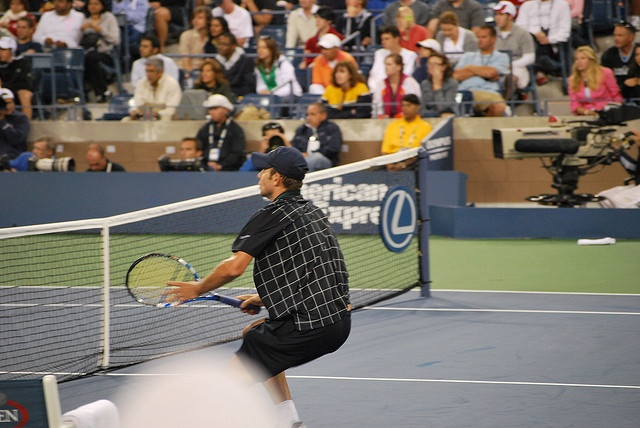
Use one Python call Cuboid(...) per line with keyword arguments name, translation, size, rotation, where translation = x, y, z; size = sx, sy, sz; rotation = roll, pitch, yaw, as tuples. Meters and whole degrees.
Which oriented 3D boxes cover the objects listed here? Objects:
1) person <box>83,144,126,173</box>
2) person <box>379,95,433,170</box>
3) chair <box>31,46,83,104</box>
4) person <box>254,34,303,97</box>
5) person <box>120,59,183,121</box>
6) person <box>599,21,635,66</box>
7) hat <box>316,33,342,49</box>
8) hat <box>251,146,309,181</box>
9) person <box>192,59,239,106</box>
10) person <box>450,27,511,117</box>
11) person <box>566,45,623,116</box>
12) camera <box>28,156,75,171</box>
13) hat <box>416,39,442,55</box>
Cuboid(name="person", translation=(-4.471, -1.136, 25.356), size=(0.888, 0.586, 0.573), rotation=(-5, 33, 13))
Cuboid(name="person", translation=(1.669, -1.777, 24.506), size=(0.966, 1.187, 0.544), rotation=(2, 7, 28))
Cuboid(name="chair", translation=(-5.837, -3.062, 27.412), size=(1.159, 1.241, 0.759), rotation=(-4, 7, -23))
Cuboid(name="person", translation=(-0.914, -3.083, 25.953), size=(0.954, 1.245, 0.438), rotation=(-2, 7, -2))
Cuboid(name="person", translation=(-3.560, -2.654, 26.113), size=(1.177, 1.315, 0.540), rotation=(0, 7, 13))
Cuboid(name="person", translation=(6.405, -3.665, 25.849), size=(0.758, 0.978, 0.615), rotation=(2, 1, -23))
Cuboid(name="hat", translation=(0.164, -3.608, 25.758), size=(0.462, 0.327, 0.399), rotation=(-1, 6, 2))
Cuboid(name="hat", translation=(-0.568, -0.741, 17.277), size=(0.749, 0.305, 0.444), rotation=(14, 11, 7))
Cuboid(name="person", translation=(-2.177, -2.726, 25.770), size=(1.368, 1.036, 0.712), rotation=(3, 5, 29))
Cuboid(name="person", translation=(3.366, -2.944, 25.433), size=(1.114, 1.871, 0.568), rotation=(-1, 7, 7))
Cuboid(name="person", translation=(5.591, -2.714, 25.112), size=(1.142, 1.369, 0.827), rotation=(0, 7, 18))
Cuboid(name="camera", translation=(-5.567, -0.997, 25.475), size=(0.543, 0.184, 0.449), rotation=(-1, 0, 15))
Cuboid(name="hat", translation=(2.266, -3.461, 25.515), size=(0.464, 0.199, 0.310), rotation=(19, 2, -11))
